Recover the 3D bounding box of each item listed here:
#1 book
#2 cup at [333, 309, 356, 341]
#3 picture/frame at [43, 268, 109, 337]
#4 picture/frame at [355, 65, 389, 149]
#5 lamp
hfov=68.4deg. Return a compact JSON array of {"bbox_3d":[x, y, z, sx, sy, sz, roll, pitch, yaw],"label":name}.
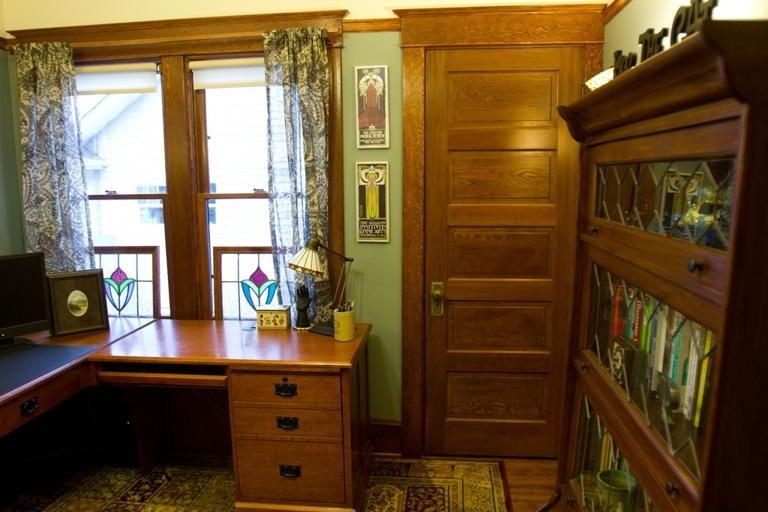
[{"bbox_3d":[1.002,0.395,2.044,0.182,0.479,0.514,-5,28,-11],"label":"book"},{"bbox_3d":[-0.227,0.407,3.344,0.161,0.174,0.161,0,2,0],"label":"cup"},{"bbox_3d":[-1.900,0.297,3.476,0.402,0.483,0.051,-6,3,-29],"label":"picture/frame"},{"bbox_3d":[-0.070,-0.925,3.492,0.229,0.485,0.020,6,16,26],"label":"picture/frame"},{"bbox_3d":[-0.351,0.157,3.421,0.436,0.529,0.284,-6,7,-35],"label":"lamp"}]
